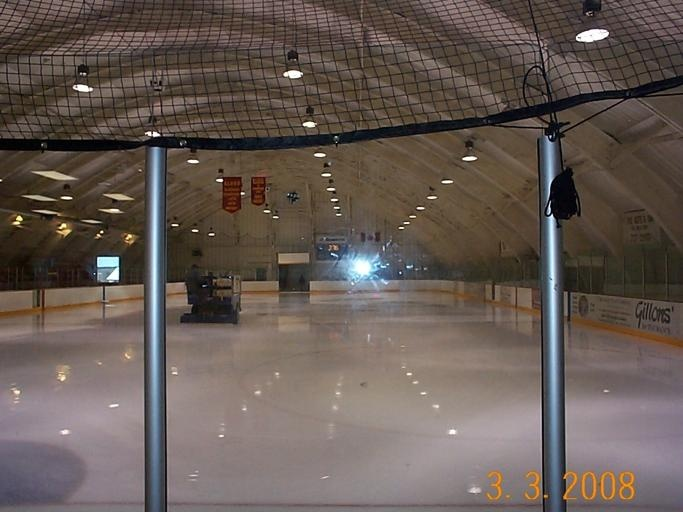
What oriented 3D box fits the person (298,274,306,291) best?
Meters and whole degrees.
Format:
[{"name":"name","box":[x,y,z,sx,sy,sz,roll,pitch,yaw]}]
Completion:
[{"name":"person","box":[-2.588,1.769,39.356,0.433,1.066,0.272,-2,-3,0]}]
